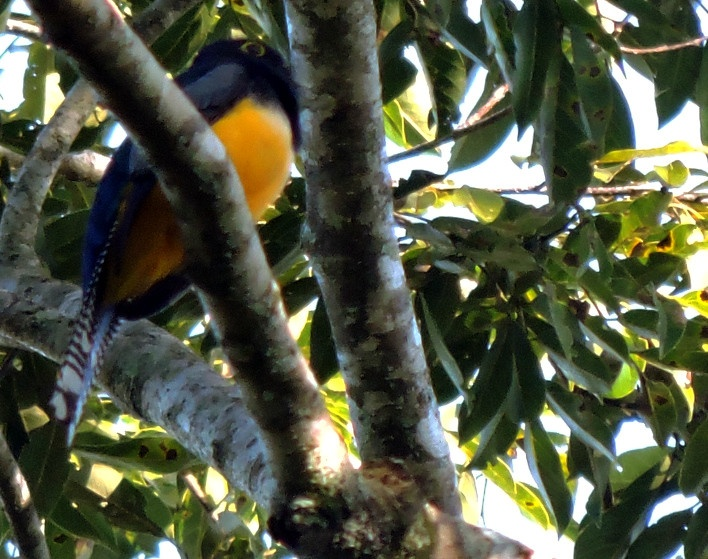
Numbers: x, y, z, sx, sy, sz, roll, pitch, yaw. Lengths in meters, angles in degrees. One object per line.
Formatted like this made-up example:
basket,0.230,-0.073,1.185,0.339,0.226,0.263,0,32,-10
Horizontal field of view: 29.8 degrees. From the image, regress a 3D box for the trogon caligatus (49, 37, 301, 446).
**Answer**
trogon caligatus,-0.443,-0.137,3.122,0.595,1.068,0.382,-18,-50,22
